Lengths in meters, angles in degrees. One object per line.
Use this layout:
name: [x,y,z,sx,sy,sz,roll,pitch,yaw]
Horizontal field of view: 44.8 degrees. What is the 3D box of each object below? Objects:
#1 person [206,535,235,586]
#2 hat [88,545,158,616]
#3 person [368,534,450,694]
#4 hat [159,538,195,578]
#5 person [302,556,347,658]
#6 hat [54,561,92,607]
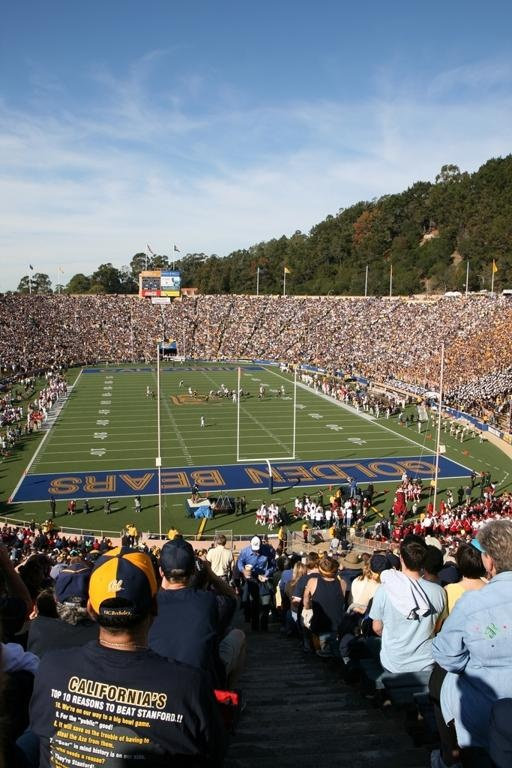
person: [-0.480,2.478,8.293,0.354,0.964,0.292,0,14,-11]
hat: [-0.492,0.681,2.318,0.246,0.188,0.375,-2,14,-5]
person: [1.043,1.623,4.403,0.540,1.077,0.782,2,-5,2]
hat: [-0.411,0.896,3.288,0.144,0.111,0.216,5,27,-10]
person: [0.638,2.090,5.785,0.389,0.954,0.679,1,9,5]
hat: [-1.123,1.278,3.832,0.236,0.170,0.370,4,17,-7]
